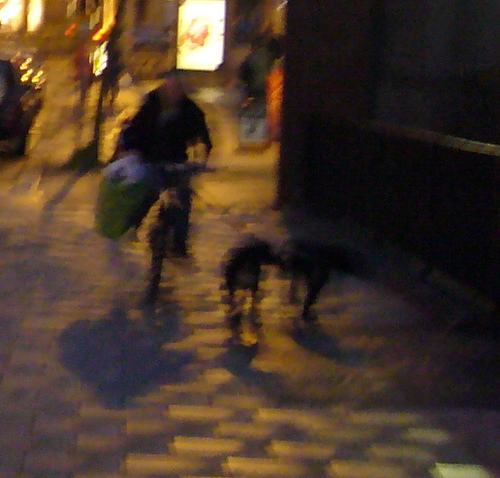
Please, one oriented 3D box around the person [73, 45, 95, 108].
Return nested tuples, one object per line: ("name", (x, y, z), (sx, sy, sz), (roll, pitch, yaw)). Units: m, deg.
("person", (-2.883, -2.830, 17.136), (0.347, 1.017, 0.913), (4, 12, -11))
